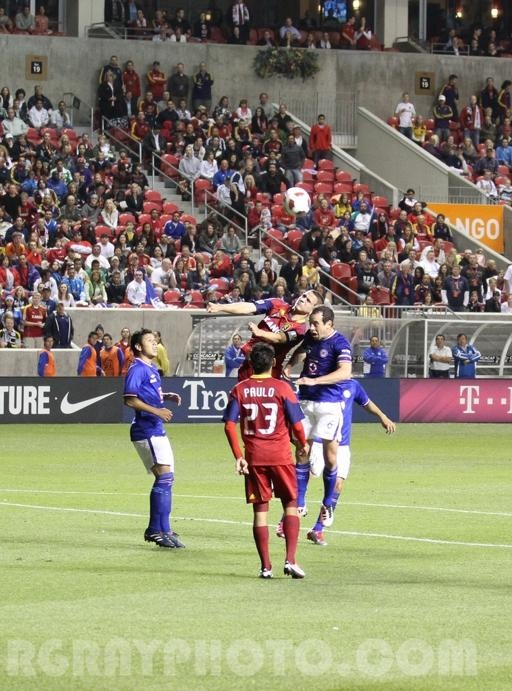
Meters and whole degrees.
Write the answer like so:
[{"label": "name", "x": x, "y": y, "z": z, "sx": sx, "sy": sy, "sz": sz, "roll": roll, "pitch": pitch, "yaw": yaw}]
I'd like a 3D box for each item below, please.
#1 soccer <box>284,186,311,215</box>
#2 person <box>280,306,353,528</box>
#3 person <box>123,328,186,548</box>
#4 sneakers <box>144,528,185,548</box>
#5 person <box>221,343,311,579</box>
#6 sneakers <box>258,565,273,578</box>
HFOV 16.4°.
[{"label": "soccer", "x": 0.759, "y": -2.519, "z": 30.814, "sx": 0.416, "sy": 0.570, "sz": 0.444, "roll": -3, "pitch": -12, "yaw": -9}, {"label": "person", "x": 0.478, "y": 0.625, "z": 15.456, "sx": 0.642, "sy": 1.999, "sz": 0.579, "roll": 9, "pitch": 15, "yaw": 29}, {"label": "person", "x": -0.855, "y": 0.760, "z": 14.722, "sx": 0.394, "sy": 1.744, "sz": 0.614, "roll": -1, "pitch": 5, "yaw": -27}, {"label": "sneakers", "x": -0.739, "y": 1.590, "z": 14.580, "sx": 0.361, "sy": 0.180, "sz": 0.137, "roll": 11, "pitch": 0, "yaw": 4}, {"label": "person", "x": 0.075, "y": 0.864, "z": 13.576, "sx": 0.630, "sy": 1.737, "sz": 0.718, "roll": 1, "pitch": 4, "yaw": -2}, {"label": "sneakers", "x": 0.085, "y": 1.699, "z": 13.461, "sx": 0.102, "sy": 0.090, "sz": 0.172, "roll": 2, "pitch": 4, "yaw": 0}]
